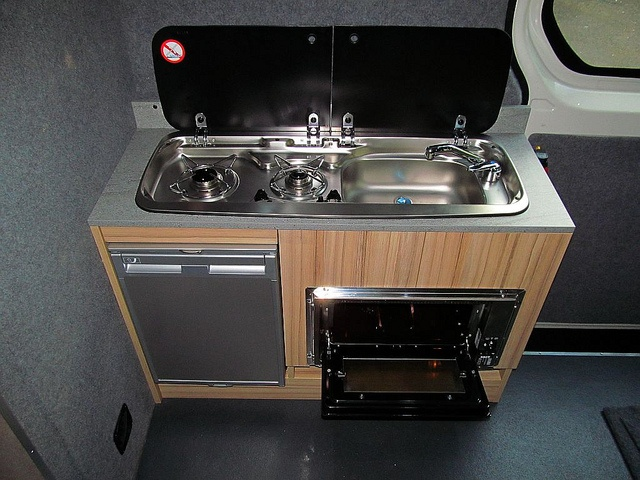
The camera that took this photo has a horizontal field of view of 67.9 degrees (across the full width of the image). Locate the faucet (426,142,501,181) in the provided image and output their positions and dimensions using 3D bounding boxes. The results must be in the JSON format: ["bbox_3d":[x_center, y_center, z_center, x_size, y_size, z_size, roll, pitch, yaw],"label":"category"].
[{"bbox_3d":[0.606,-0.324,1.979,0.348,0.128,0.070,9,15,12],"label":"faucet"}]

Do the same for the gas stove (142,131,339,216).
[{"bbox_3d":[-0.323,-0.277,1.865,0.649,0.089,0.354,2,72,-3],"label":"gas stove"}]

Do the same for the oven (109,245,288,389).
[{"bbox_3d":[-0.361,0.226,1.965,0.585,0.798,0.539,-1,45,0],"label":"oven"}]
